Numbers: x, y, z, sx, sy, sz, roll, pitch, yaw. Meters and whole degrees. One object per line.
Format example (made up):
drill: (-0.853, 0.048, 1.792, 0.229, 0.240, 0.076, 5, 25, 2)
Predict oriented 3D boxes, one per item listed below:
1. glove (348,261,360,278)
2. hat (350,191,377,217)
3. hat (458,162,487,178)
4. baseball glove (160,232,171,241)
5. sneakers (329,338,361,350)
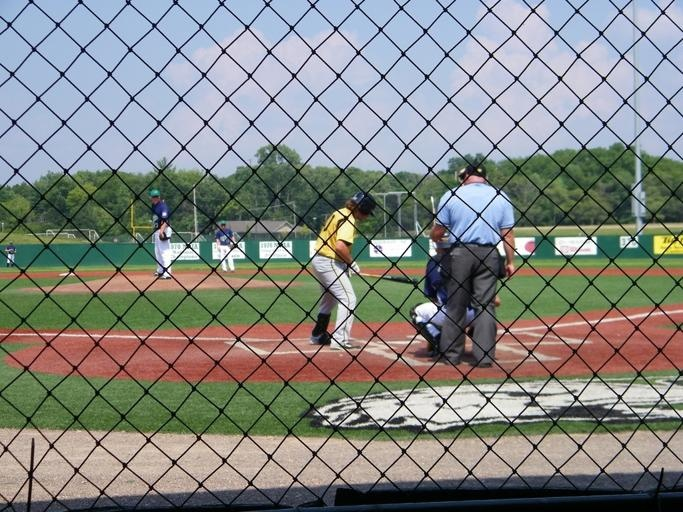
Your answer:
glove: (0.178, 0.194, 18.979, 0.181, 0.285, 0.243, -2, -5, 2)
hat: (0.306, -0.644, 18.311, 0.266, 0.291, 0.521, 0, 1, -15)
hat: (1.595, -1.032, 17.498, 0.290, 0.134, 0.197, 7, 5, 19)
baseball glove: (-3.029, -0.315, 24.619, 0.169, 0.041, 0.159, -13, 12, 0)
sneakers: (0.077, 1.182, 19.099, 0.564, 0.194, 0.194, 0, 2, -5)
